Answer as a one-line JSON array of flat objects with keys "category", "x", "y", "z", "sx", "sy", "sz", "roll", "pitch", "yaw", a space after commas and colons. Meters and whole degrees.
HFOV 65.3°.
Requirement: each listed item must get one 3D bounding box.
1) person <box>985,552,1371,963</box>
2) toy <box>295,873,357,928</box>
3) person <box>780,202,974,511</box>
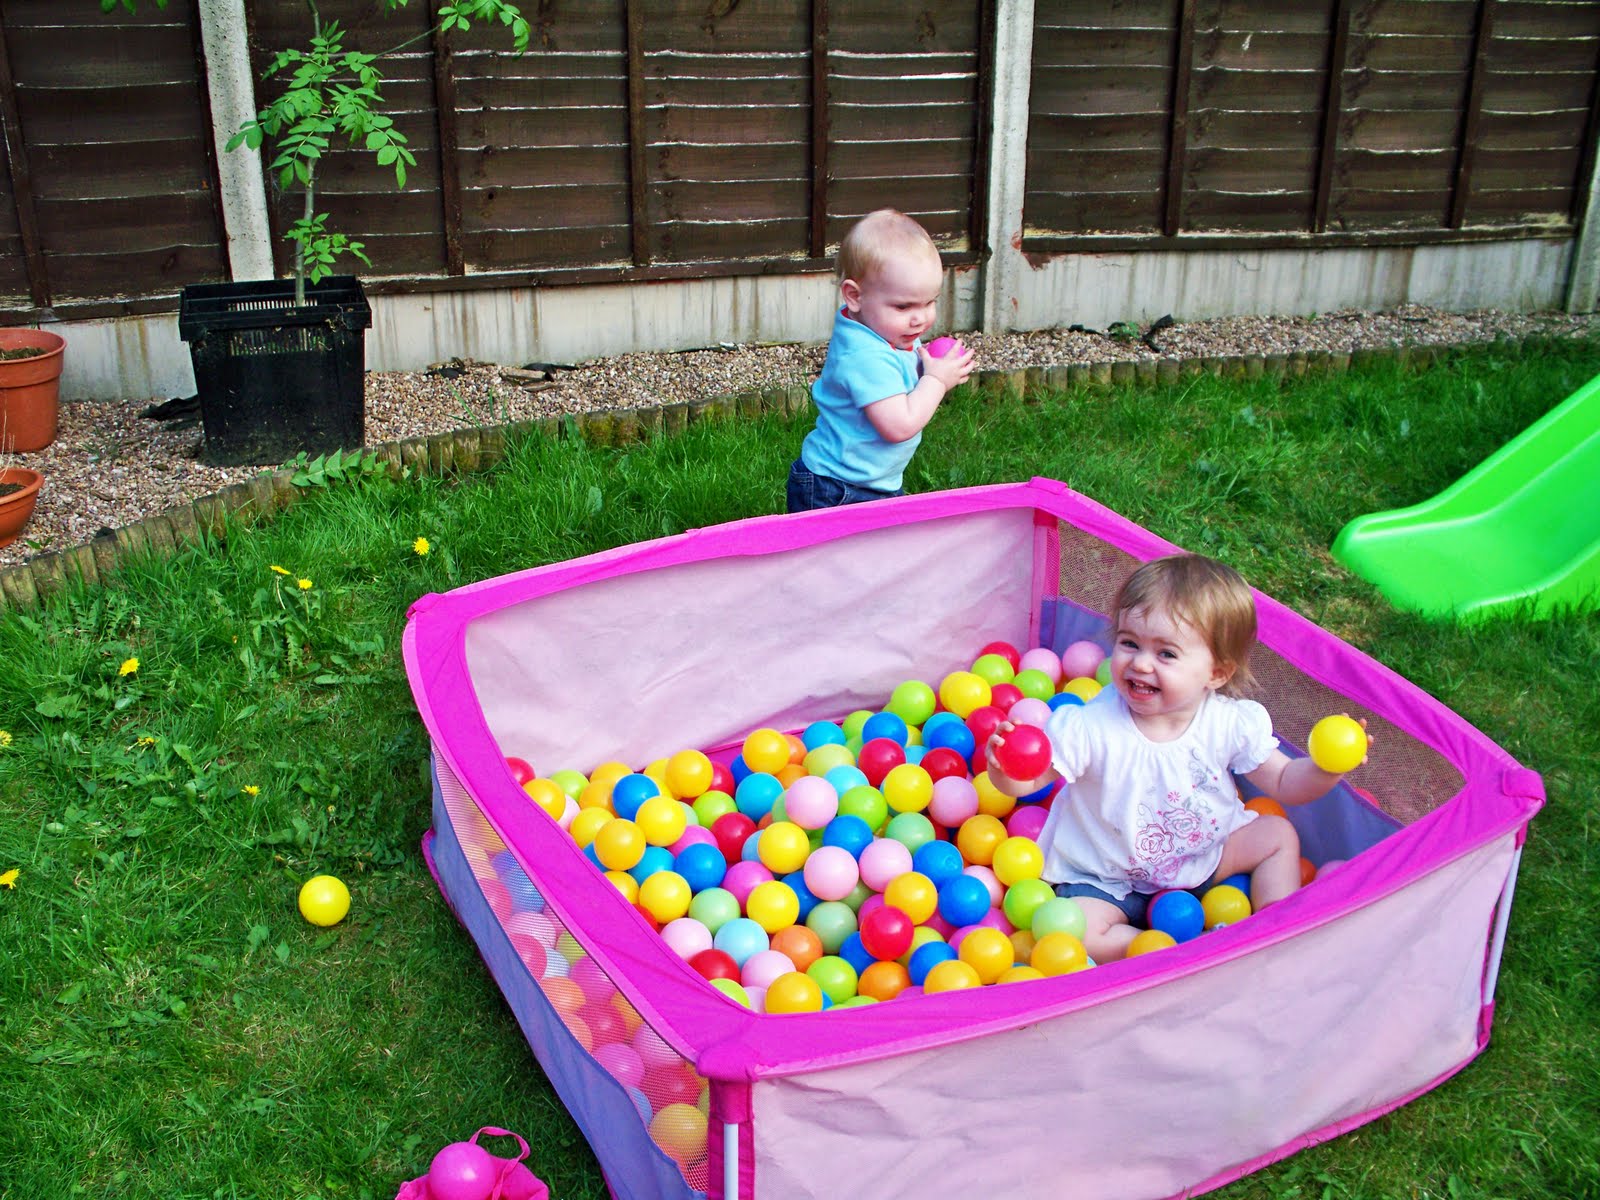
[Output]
[{"category": "person", "x": 0.749, "y": 0.355, "z": 2.723, "sx": 0.708, "sy": 0.845, "sz": 0.550, "roll": -7, "pitch": 19, "yaw": -2}, {"category": "toy", "x": -1.122, "y": 0.692, "z": 2.919, "sx": 0.111, "sy": 0.119, "sz": 0.111, "roll": -1, "pitch": -4, "yaw": 19}, {"category": "person", "x": 0.226, "y": -0.535, "z": 3.608, "sx": 0.480, "sy": 1.161, "sz": 0.437, "roll": 20, "pitch": 43, "yaw": 24}]
